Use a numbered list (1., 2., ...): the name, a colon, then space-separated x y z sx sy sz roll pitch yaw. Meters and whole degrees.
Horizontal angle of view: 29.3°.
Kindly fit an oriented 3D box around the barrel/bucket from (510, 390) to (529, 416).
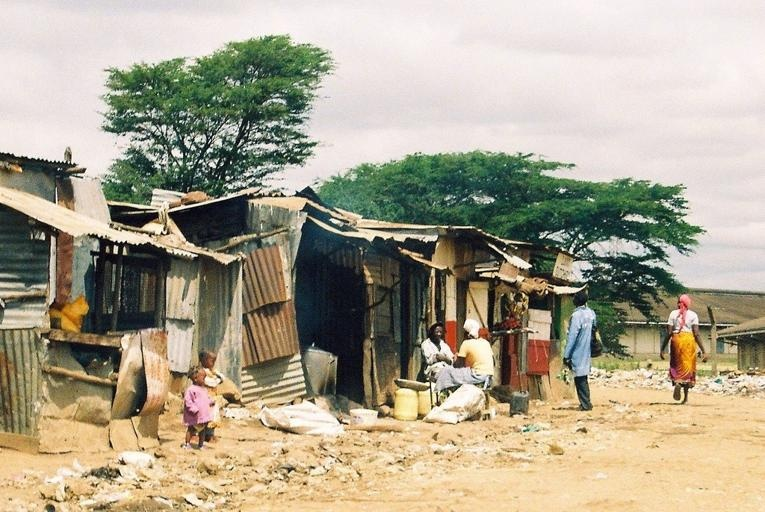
1. barrel/bucket: 3.269 3.491 34.756 0.474 0.544 0.510 1 -7 0

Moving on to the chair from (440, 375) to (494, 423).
1. chair: 2.059 3.291 34.060 1.601 0.840 0.596 3 -6 -44

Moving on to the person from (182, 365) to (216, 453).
1. person: -3.861 3.184 30.852 0.645 1.684 0.492 0 -4 -16

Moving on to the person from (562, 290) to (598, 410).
1. person: 4.603 2.177 34.247 0.745 2.825 0.826 -2 -4 7
